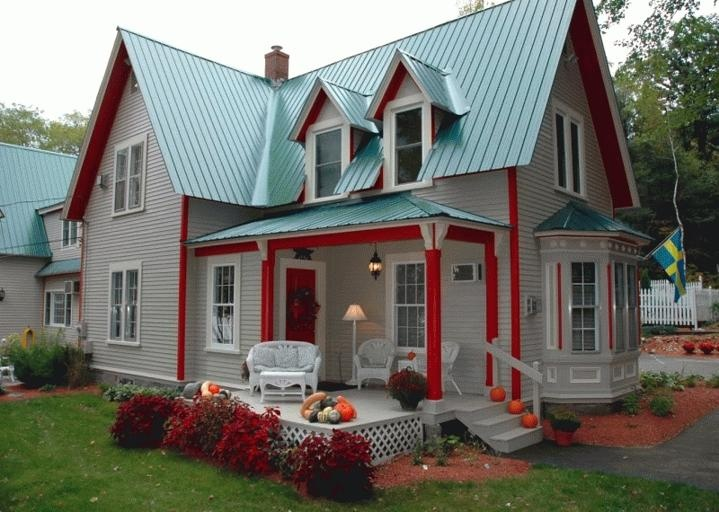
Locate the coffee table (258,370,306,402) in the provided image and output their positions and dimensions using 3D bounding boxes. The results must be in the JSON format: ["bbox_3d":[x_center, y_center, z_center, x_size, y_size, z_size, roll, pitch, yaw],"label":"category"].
[{"bbox_3d":[-1.923,3.249,15.144,1.159,0.786,0.853,-1,6,-5],"label":"coffee table"}]

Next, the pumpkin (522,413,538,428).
[{"bbox_3d":[4.080,3.958,14.583,0.313,0.322,0.323,-4,-2,-35],"label":"pumpkin"}]

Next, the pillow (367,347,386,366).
[{"bbox_3d":[0.499,2.782,16.703,0.424,0.435,0.107,-1,-6,23],"label":"pillow"}]

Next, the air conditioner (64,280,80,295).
[{"bbox_3d":[-11.853,1.520,24.991,0.524,0.947,0.973,2,-5,-33],"label":"air conditioner"}]

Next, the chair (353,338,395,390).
[{"bbox_3d":[0.452,2.987,16.698,1.322,1.717,1.208,-3,-13,16],"label":"chair"}]

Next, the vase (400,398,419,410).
[{"bbox_3d":[1.118,3.392,13.824,0.274,0.180,0.287,-3,-8,14],"label":"vase"}]

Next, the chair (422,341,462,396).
[{"bbox_3d":[2.457,2.889,16.037,1.042,1.376,1.025,7,-11,-38],"label":"chair"}]

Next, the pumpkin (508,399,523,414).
[{"bbox_3d":[3.828,3.685,14.845,0.283,0.298,0.290,-5,-5,32],"label":"pumpkin"}]

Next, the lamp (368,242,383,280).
[{"bbox_3d":[0.466,0.210,17.021,0.419,1.010,0.963,-1,6,1],"label":"lamp"}]

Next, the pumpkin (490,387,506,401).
[{"bbox_3d":[3.417,3.425,14.991,0.295,0.304,0.305,-1,-8,-18],"label":"pumpkin"}]
